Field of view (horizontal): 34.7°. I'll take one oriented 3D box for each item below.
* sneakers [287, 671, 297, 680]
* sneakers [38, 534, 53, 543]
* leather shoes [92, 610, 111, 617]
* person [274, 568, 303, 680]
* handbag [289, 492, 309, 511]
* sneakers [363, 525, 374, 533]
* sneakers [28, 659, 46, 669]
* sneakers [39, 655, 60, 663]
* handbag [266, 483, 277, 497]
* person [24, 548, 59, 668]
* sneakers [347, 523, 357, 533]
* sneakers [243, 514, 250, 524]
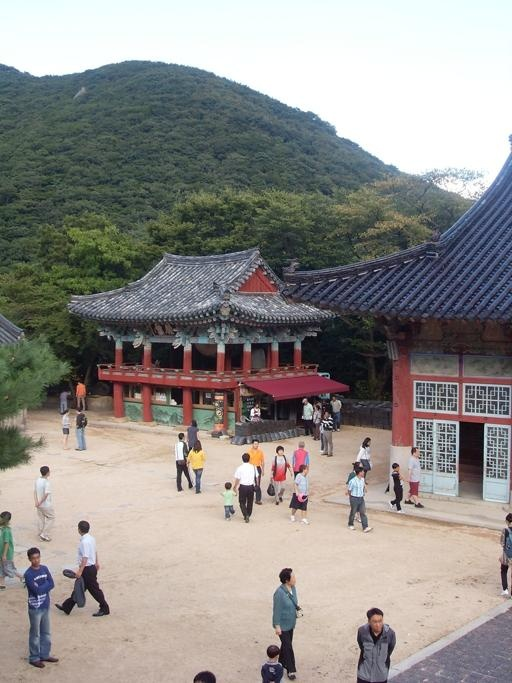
[{"bbox_3d":[0.481,4.340,10.672,0.059,0.040,0.151,1,6,-10],"label":"sneakers"},{"bbox_3d":[-4.204,3.928,16.430,0.141,0.101,0.315,-42,37,-22],"label":"sneakers"},{"bbox_3d":[-2.356,4.178,12.575,0.269,0.094,0.090,3,-9,12],"label":"leather shoes"},{"bbox_3d":[0.407,3.636,10.595,0.306,1.491,0.541,0,3,6],"label":"person"},{"bbox_3d":[0.975,3.502,17.901,0.292,0.435,0.466,-2,3,-19],"label":"handbag"},{"bbox_3d":[2.371,3.942,17.236,0.159,0.151,0.391,2,2,11],"label":"sneakers"},{"bbox_3d":[-2.890,4.285,10.896,0.221,0.081,0.069,-8,-11,42],"label":"sneakers"},{"bbox_3d":[-2.769,4.264,11.045,0.232,0.084,0.079,0,0,-23],"label":"sneakers"},{"bbox_3d":[0.392,3.557,19.692,0.143,0.319,0.349,-1,3,1],"label":"handbag"},{"bbox_3d":[-2.931,3.570,11.225,0.383,1.477,0.840,-2,3,-15],"label":"person"},{"bbox_3d":[2.050,3.945,17.391,0.202,0.219,0.549,1,1,5],"label":"sneakers"},{"bbox_3d":[-0.179,3.856,17.849,0.081,0.138,0.227,4,8,19],"label":"sneakers"}]
